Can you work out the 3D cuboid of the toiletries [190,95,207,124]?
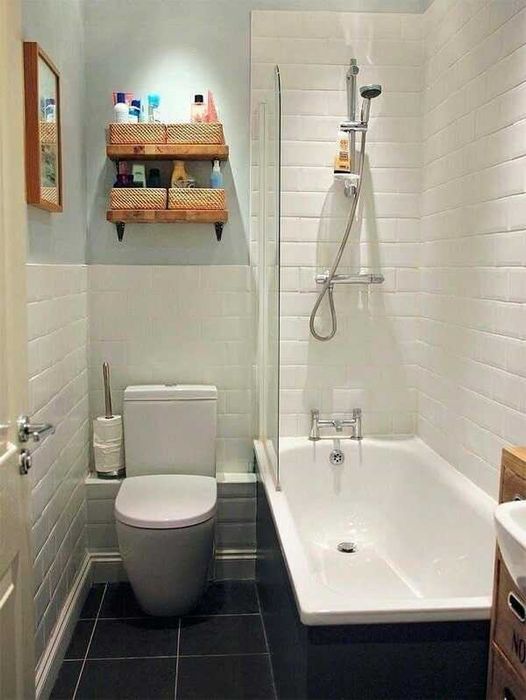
[{"bbox_3d":[-0.273,-1.015,2.343,0.069,0.123,0.069,0,3,-4],"label":"toiletries"}]

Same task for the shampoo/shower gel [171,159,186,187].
[{"bbox_3d":[-0.359,-0.766,2.378,0.054,0.122,0.107,0,5,-6],"label":"shampoo/shower gel"}]

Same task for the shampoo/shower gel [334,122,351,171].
[{"bbox_3d":[0.347,-0.856,2.402,0.068,0.215,0.169,1,3,10],"label":"shampoo/shower gel"}]

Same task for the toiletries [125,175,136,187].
[{"bbox_3d":[-0.563,-0.717,2.369,0.037,0.074,0.042,-2,2,-18],"label":"toiletries"}]

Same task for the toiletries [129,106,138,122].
[{"bbox_3d":[-0.543,-0.991,2.327,0.037,0.074,0.029,0,3,-16],"label":"toiletries"}]

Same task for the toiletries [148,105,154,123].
[{"bbox_3d":[-0.475,-1.002,2.352,0.018,0.075,0.061,-1,3,-32],"label":"toiletries"}]

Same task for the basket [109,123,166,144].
[{"bbox_3d":[-0.519,-0.897,2.298,0.234,0.092,0.028,1,3,1],"label":"basket"}]

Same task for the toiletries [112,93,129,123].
[{"bbox_3d":[-0.591,-1.013,2.317,0.062,0.139,0.053,0,3,-8],"label":"toiletries"}]

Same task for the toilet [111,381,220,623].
[{"bbox_3d":[-0.391,0.638,2.275,0.339,0.909,0.708,0,3,-3],"label":"toilet"}]
